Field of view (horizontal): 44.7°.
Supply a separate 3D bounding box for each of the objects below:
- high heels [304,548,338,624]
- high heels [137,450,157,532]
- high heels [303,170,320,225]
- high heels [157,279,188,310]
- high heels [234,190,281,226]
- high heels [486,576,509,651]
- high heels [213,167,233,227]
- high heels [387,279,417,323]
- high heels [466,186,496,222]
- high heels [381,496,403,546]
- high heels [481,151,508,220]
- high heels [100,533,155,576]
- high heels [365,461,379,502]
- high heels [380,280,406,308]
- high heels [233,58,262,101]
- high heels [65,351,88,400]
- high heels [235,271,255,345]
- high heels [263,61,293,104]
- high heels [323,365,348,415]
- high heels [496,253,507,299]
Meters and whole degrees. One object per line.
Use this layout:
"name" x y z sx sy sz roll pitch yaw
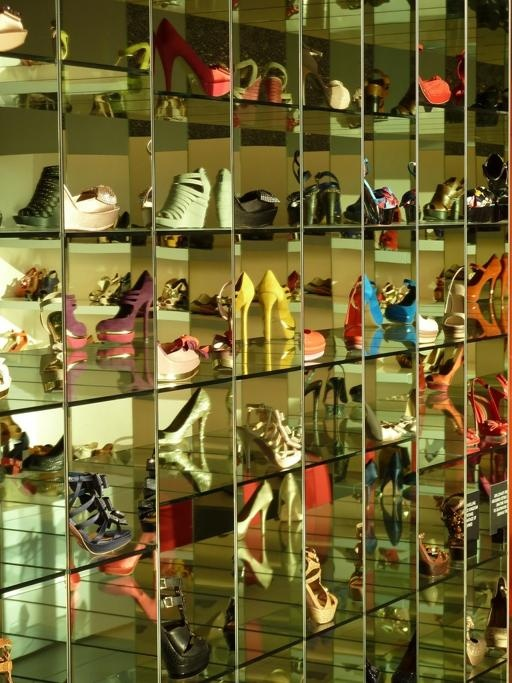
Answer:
"high heels" 0.181 0.674 1.681 0.083 0.086 0.216 5 -42 12
"high heels" -0.229 0.317 1.294 0.037 0.155 0.034 -2 -11 -9
"high heels" 0.155 -0.380 1.665 0.058 0.146 0.046 2 -15 10
"high heels" -0.198 -0.112 1.486 0.040 0.042 0.112 6 4 7
"high heels" -0.002 -0.317 1.506 0.057 0.059 0.162 10 19 32
"high heels" 0.847 0.954 2.170 0.078 0.093 0.256 -1 4 10
"high heels" -0.072 -0.323 1.394 0.043 0.118 0.048 1 -3 -29
"high heels" 0.446 -0.108 1.879 0.054 0.064 0.160 4 9 24
"high heels" 0.741 -0.444 2.054 0.113 0.128 0.138 -1 3 14
"high heels" 0.412 0.533 1.862 0.060 0.161 0.050 -4 -8 -32
"high heels" 0.832 -0.528 2.145 0.080 0.230 0.103 -3 12 32
"high heels" -0.261 0.429 1.264 0.048 0.034 0.138 9 6 19
"high heels" 0.332 0.401 1.810 0.047 0.109 0.037 -9 18 -37
"high heels" 0.419 -0.147 1.920 0.031 0.053 0.087 15 27 35
"high heels" -0.011 -0.601 1.431 0.043 0.050 0.135 1 7 11
"high heels" -0.342 0.063 1.183 0.034 0.101 0.061 -1 -10 -12
"high heels" -0.037 -0.088 1.619 0.033 0.187 0.046 -6 14 -39
"high heels" 0.045 -0.612 1.483 0.065 0.098 0.103 0 -2 5
"high heels" 0.219 0.136 1.747 0.052 0.057 0.149 -1 24 3
"high heels" 0.859 -0.223 2.147 0.045 0.128 0.042 5 0 26
